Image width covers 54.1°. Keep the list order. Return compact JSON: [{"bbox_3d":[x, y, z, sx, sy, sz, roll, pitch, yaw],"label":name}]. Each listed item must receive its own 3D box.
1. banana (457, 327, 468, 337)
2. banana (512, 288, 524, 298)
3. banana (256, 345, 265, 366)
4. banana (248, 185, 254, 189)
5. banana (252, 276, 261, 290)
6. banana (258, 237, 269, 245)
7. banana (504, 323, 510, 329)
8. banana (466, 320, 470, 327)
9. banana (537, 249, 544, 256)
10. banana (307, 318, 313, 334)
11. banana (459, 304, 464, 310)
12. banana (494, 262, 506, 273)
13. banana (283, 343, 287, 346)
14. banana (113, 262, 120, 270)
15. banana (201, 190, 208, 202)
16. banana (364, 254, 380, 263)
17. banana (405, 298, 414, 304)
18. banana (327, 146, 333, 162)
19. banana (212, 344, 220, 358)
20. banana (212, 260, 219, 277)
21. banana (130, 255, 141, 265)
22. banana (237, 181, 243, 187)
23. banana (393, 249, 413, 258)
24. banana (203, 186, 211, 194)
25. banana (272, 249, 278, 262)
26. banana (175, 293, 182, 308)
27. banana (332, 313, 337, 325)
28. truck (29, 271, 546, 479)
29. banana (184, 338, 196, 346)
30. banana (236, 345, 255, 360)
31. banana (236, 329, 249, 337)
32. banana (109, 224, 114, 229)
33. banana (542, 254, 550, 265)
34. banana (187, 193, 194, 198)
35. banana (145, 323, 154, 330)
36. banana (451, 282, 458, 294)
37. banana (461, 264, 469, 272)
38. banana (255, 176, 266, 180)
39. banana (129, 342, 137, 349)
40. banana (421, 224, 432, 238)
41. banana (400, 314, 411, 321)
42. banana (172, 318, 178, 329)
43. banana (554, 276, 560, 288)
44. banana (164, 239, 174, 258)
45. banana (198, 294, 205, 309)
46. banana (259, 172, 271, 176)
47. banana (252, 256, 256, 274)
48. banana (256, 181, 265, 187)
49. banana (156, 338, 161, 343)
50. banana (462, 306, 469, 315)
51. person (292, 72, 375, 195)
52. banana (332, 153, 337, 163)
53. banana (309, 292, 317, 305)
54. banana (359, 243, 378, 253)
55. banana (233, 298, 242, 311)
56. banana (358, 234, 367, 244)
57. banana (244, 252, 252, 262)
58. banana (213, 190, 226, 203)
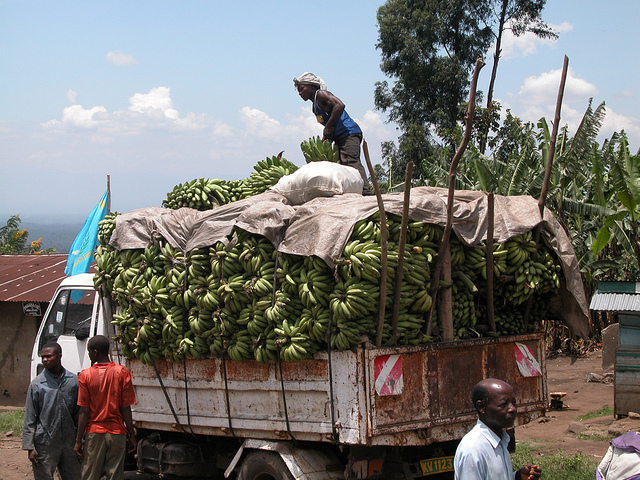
[{"bbox_3d":[1.643,1.062,7.230,0.027,0.100,0.221,2,9,41],"label":"banana"},{"bbox_3d":[2.323,0.616,7.313,0.099,0.125,0.129,-8,8,-36],"label":"banana"},{"bbox_3d":[-0.669,1.281,6.966,0.048,0.164,0.132,-8,-14,-18],"label":"banana"},{"bbox_3d":[-0.938,-0.725,8.529,0.027,0.052,0.100,-9,8,-44],"label":"banana"},{"bbox_3d":[-0.706,0.476,7.019,0.033,0.096,0.123,16,38,-16],"label":"banana"},{"bbox_3d":[-0.636,0.008,7.087,0.121,0.058,0.037,-4,6,-7],"label":"banana"},{"bbox_3d":[2.233,1.030,7.509,0.061,0.067,0.021,-5,-13,18],"label":"banana"},{"bbox_3d":[1.720,0.985,7.295,0.026,0.058,0.053,2,8,39],"label":"banana"},{"bbox_3d":[2.561,0.145,7.276,0.037,0.017,0.066,-11,44,-24],"label":"banana"},{"bbox_3d":[-0.105,0.897,6.613,0.050,0.148,0.035,2,-6,5],"label":"banana"},{"bbox_3d":[1.609,0.756,7.125,0.074,0.062,0.013,-9,9,-41],"label":"banana"},{"bbox_3d":[2.061,0.311,7.135,0.068,0.134,0.183,2,8,39],"label":"banana"},{"bbox_3d":[-0.373,1.126,6.760,0.044,0.029,0.009,-3,6,6],"label":"banana"},{"bbox_3d":[-2.709,0.345,8.369,0.101,0.088,0.035,1,7,35],"label":"banana"},{"bbox_3d":[-1.546,-0.602,8.410,0.085,0.141,0.161,-4,6,-11],"label":"banana"},{"bbox_3d":[0.529,0.187,6.328,0.167,0.064,0.048,27,-41,-15],"label":"banana"},{"bbox_3d":[0.951,0.642,6.631,0.028,0.048,0.170,-18,-29,20],"label":"banana"},{"bbox_3d":[0.148,-1.208,8.817,0.076,0.233,0.058,2,-8,-21],"label":"banana"},{"bbox_3d":[-1.226,1.323,7.426,0.056,0.186,0.040,-19,11,-16],"label":"banana"},{"bbox_3d":[-1.220,0.334,7.325,0.107,0.200,0.039,1,7,32],"label":"banana"},{"bbox_3d":[-2.397,0.265,8.169,0.181,0.106,0.033,0,7,31],"label":"banana"},{"bbox_3d":[-1.101,-0.772,8.671,0.071,0.065,0.070,-4,6,-2],"label":"banana"},{"bbox_3d":[0.865,0.142,6.520,0.256,0.109,0.031,-8,8,-34],"label":"banana"},{"bbox_3d":[-1.518,-0.688,8.441,0.043,0.075,0.127,-1,9,-28],"label":"banana"},{"bbox_3d":[-0.497,0.175,6.990,0.040,0.138,0.136,-5,6,-18],"label":"banana"},{"bbox_3d":[-1.727,0.752,7.653,0.035,0.122,0.091,5,7,7],"label":"banana"},{"bbox_3d":[0.153,0.816,6.429,0.021,0.088,0.063,1,2,4],"label":"banana"},{"bbox_3d":[-0.673,2.098,8.557,5.964,3.044,3.134,-2,-8,30],"label":"truck"},{"bbox_3d":[-1.558,1.230,7.538,0.029,0.119,0.071,-46,4,37],"label":"banana"},{"bbox_3d":[-0.842,1.268,7.113,0.219,0.083,0.048,33,17,5],"label":"banana"},{"bbox_3d":[-0.874,1.060,7.142,0.181,0.060,0.051,-24,-5,19],"label":"banana"},{"bbox_3d":[-2.831,-0.197,8.514,0.028,0.046,0.011,43,-3,20],"label":"banana"},{"bbox_3d":[2.627,0.223,7.263,0.063,0.119,0.027,14,-4,0],"label":"banana"},{"bbox_3d":[-1.751,-0.602,8.458,0.048,0.066,0.052,-2,-9,17],"label":"banana"},{"bbox_3d":[-2.140,1.092,7.880,0.093,0.057,0.025,23,1,42],"label":"banana"},{"bbox_3d":[1.505,0.545,7.036,0.039,0.132,0.127,1,8,33],"label":"banana"},{"bbox_3d":[1.640,0.299,7.079,0.023,0.112,0.030,-38,-7,13],"label":"banana"},{"bbox_3d":[-0.811,-0.839,8.518,0.115,0.036,0.039,3,1,-27],"label":"banana"},{"bbox_3d":[-2.431,1.378,8.172,0.089,0.095,0.024,9,20,43],"label":"banana"},{"bbox_3d":[1.126,-0.103,6.675,0.028,0.141,0.049,29,-5,-8],"label":"banana"},{"bbox_3d":[0.912,0.820,6.669,0.047,0.066,0.167,1,8,37],"label":"banana"},{"bbox_3d":[-1.762,1.020,7.633,0.034,0.150,0.039,-30,0,7],"label":"banana"},{"bbox_3d":[2.779,0.495,7.343,0.057,0.127,0.030,-9,-3,43],"label":"banana"},{"bbox_3d":[-1.864,0.111,7.784,0.072,0.218,0.053,-33,-21,24],"label":"banana"},{"bbox_3d":[-1.407,0.735,7.396,0.034,0.116,0.093,16,-14,22],"label":"banana"},{"bbox_3d":[-0.750,-0.901,8.559,0.175,0.062,0.045,18,-29,39],"label":"banana"},{"bbox_3d":[-0.737,0.272,7.045,0.030,0.145,0.048,-2,-2,19],"label":"banana"},{"bbox_3d":[-0.797,-0.761,8.467,0.120,0.101,0.046,12,0,5],"label":"banana"},{"bbox_3d":[-2.036,1.269,7.922,0.053,0.061,0.015,0,-3,10],"label":"banana"},{"bbox_3d":[1.661,0.796,7.158,0.088,0.046,0.139,-5,-1,13],"label":"banana"},{"bbox_3d":[0.250,-1.481,9.174,0.748,2.135,0.706,-17,0,-21],"label":"person"},{"bbox_3d":[0.211,-1.160,8.842,0.038,0.147,0.101,16,18,38],"label":"banana"},{"bbox_3d":[-0.079,0.621,6.572,0.055,0.153,0.046,-28,20,20],"label":"banana"},{"bbox_3d":[0.488,0.085,6.352,0.147,0.042,0.030,-23,-13,-16],"label":"banana"},{"bbox_3d":[-0.934,0.741,7.163,0.053,0.154,0.036,-18,0,-18],"label":"banana"},{"bbox_3d":[0.441,-0.009,6.436,0.036,0.134,0.030,17,34,-17],"label":"banana"},{"bbox_3d":[-0.803,0.193,7.073,0.083,0.105,0.034,-4,6,-7],"label":"banana"},{"bbox_3d":[-1.345,-0.595,8.478,0.132,0.176,0.082,1,8,38],"label":"banana"}]
